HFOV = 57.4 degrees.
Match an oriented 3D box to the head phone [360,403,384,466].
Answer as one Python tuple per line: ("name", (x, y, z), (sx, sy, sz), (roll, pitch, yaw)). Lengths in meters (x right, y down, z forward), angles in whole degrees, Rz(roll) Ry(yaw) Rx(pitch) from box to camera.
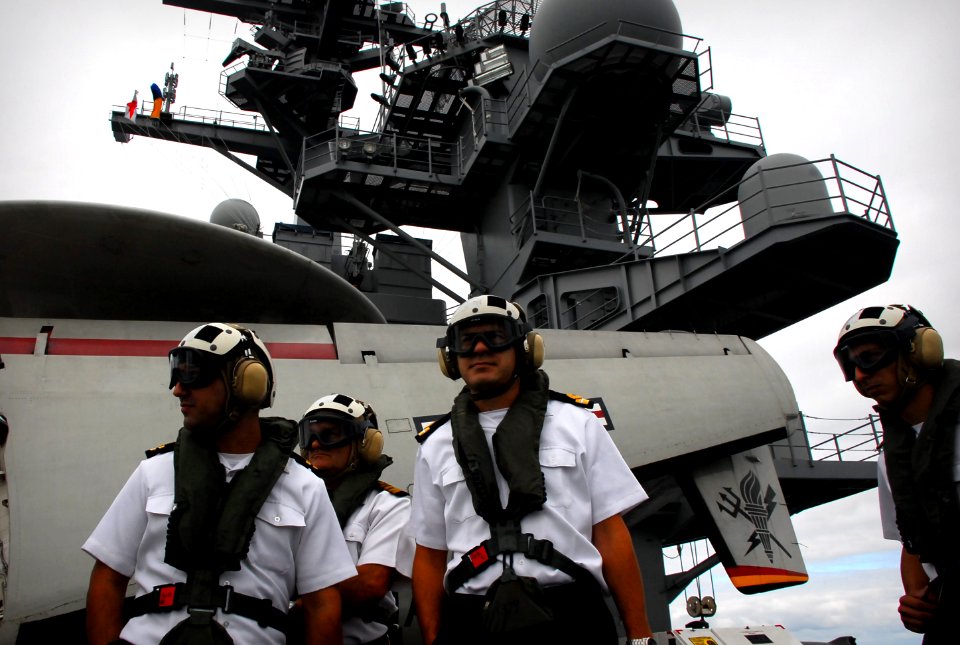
("head phone", (-1.088, 1.147, 8.774), (0.167, 0.455, 0.468), (5, -29, -32))
